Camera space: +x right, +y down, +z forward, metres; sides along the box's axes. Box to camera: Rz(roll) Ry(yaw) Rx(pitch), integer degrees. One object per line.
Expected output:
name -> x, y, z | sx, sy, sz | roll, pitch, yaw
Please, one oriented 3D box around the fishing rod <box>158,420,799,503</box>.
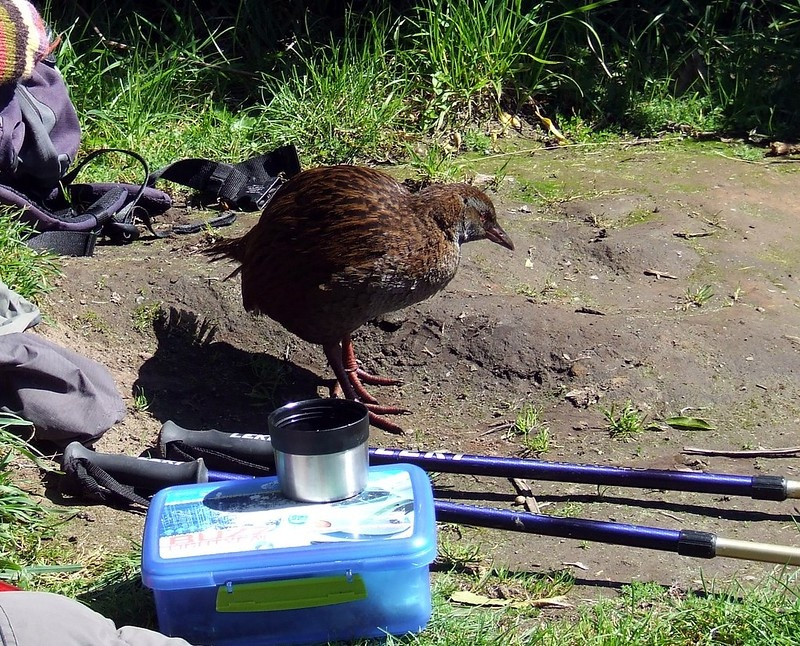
fishing rod -> 0.376, 0.544, 3.206 | 2.183, 0.234, 0.258 | 3, 43, 10
